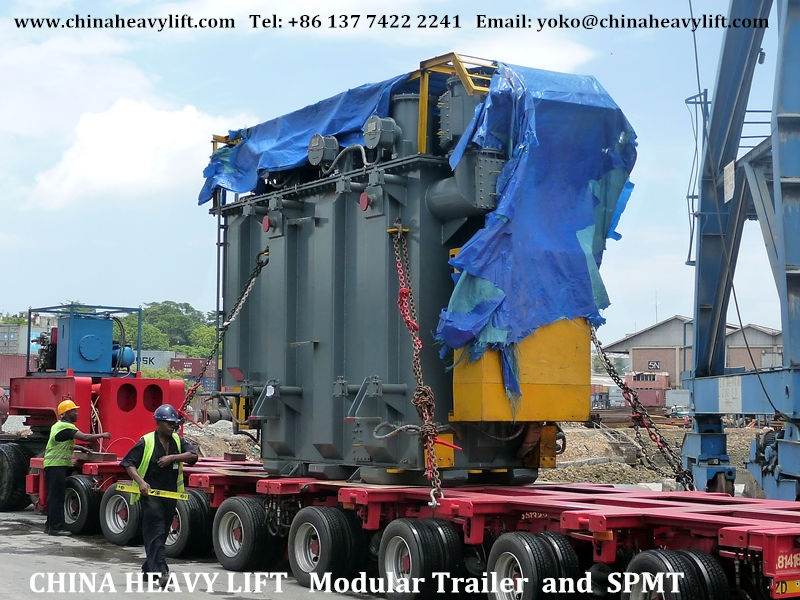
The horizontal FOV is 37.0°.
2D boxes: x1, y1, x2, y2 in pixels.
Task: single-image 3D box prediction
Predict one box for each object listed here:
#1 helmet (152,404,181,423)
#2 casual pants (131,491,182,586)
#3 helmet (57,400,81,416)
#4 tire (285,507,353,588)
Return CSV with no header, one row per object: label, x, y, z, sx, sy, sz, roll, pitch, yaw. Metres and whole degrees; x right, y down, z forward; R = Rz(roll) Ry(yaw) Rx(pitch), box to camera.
helmet,-3.246,1.564,16.608,0.311,0.192,0.248,-2,-8,24
casual pants,-3.327,3.280,16.337,0.444,1.222,0.392,3,-10,-11
helmet,-6.015,1.945,21.595,0.363,0.192,0.303,-16,-4,15
tire,-1.100,3.505,16.954,0.491,1.054,0.973,9,-12,-40
